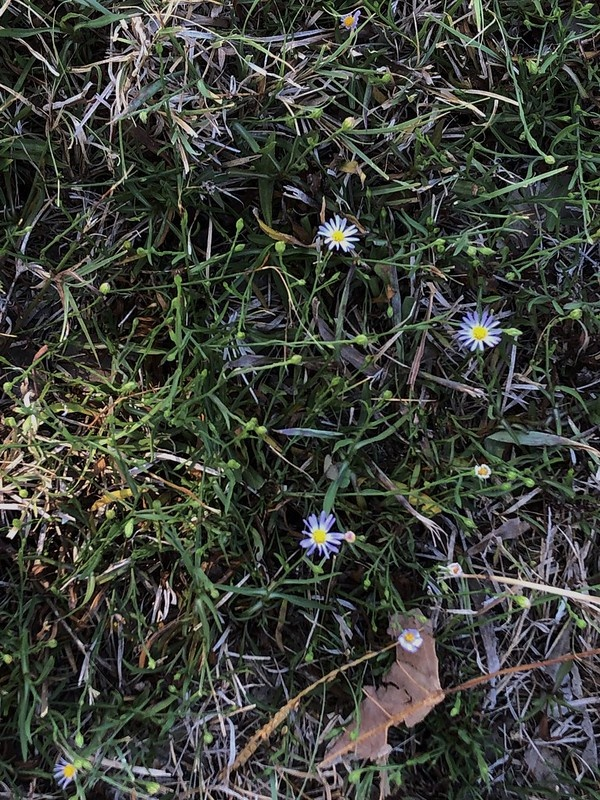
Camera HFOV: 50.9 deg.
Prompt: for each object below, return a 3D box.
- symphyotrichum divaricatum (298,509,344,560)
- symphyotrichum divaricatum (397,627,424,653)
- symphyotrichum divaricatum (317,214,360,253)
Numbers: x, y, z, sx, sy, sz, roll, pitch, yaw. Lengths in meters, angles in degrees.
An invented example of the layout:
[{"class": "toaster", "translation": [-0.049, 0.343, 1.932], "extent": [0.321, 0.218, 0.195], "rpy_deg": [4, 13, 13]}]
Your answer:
[{"class": "symphyotrichum divaricatum", "translation": [0.030, 0.201, 0.933], "extent": [0.074, 0.029, 0.073], "rpy_deg": [-13, 85, -6]}, {"class": "symphyotrichum divaricatum", "translation": [0.170, 0.366, 0.969], "extent": [0.031, 0.051, 0.034], "rpy_deg": [30, 84, 6]}, {"class": "symphyotrichum divaricatum", "translation": [0.061, -0.257, 0.987], "extent": [0.067, 0.089, 0.070], "rpy_deg": [1, 82, 2]}]
